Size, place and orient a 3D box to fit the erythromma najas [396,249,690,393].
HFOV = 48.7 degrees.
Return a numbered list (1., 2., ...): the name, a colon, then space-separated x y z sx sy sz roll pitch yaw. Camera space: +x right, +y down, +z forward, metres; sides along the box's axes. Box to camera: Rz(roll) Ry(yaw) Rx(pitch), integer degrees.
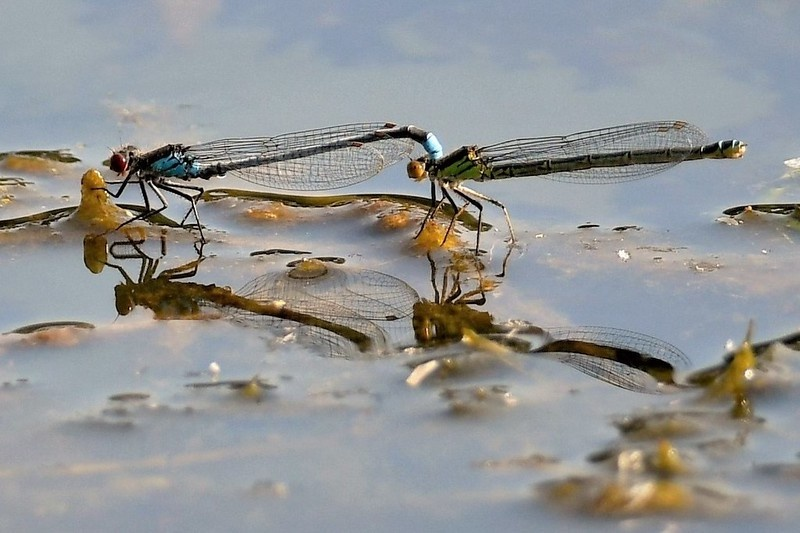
1. erythromma najas: 0.892 0.493 5.453 1.661 0.415 0.484 8 78 -6
